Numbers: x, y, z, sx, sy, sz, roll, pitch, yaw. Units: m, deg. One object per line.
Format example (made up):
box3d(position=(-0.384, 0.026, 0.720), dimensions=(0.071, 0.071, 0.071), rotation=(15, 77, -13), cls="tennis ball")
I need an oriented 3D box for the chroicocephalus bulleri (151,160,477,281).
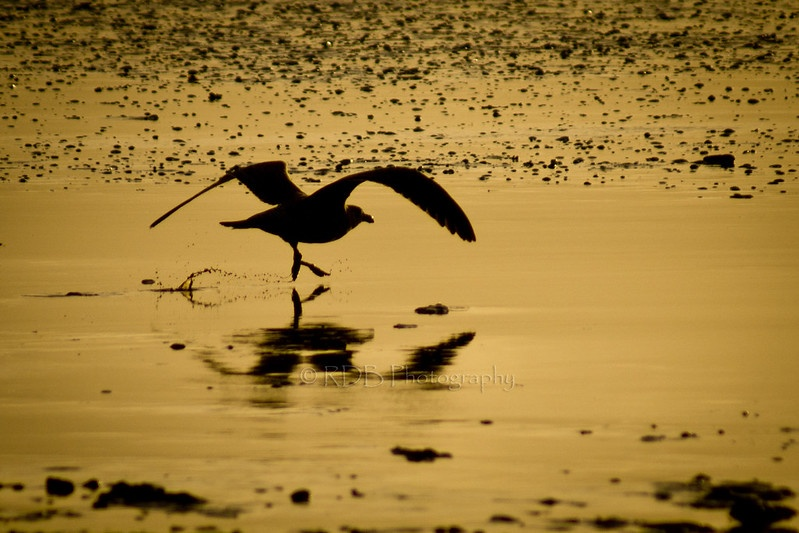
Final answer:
box3d(position=(-0.630, -0.669, 26.143), dimensions=(2.425, 3.477, 0.774), rotation=(4, 92, -46), cls="chroicocephalus bulleri")
